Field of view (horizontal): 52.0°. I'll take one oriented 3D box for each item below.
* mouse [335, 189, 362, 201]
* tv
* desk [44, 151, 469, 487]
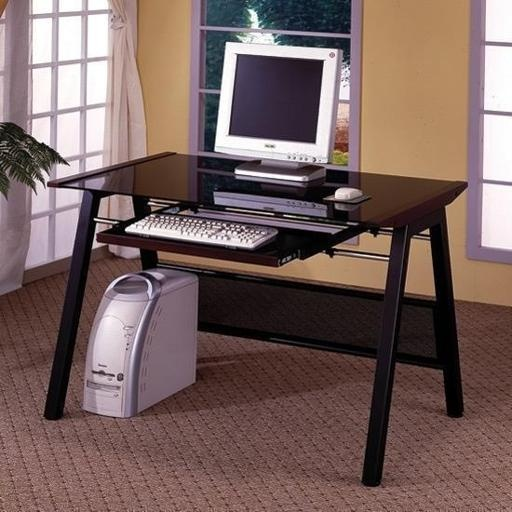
[{"bbox_3d":[0.274,-0.191,1.591,0.039,0.019,0.070,5,14,26],"label":"mouse"},{"bbox_3d":[0.070,-0.506,1.837,0.431,0.431,0.146,12,26,25],"label":"tv"},{"bbox_3d":[-0.037,0.176,1.921,1.292,0.918,0.850,7,14,29],"label":"desk"}]
